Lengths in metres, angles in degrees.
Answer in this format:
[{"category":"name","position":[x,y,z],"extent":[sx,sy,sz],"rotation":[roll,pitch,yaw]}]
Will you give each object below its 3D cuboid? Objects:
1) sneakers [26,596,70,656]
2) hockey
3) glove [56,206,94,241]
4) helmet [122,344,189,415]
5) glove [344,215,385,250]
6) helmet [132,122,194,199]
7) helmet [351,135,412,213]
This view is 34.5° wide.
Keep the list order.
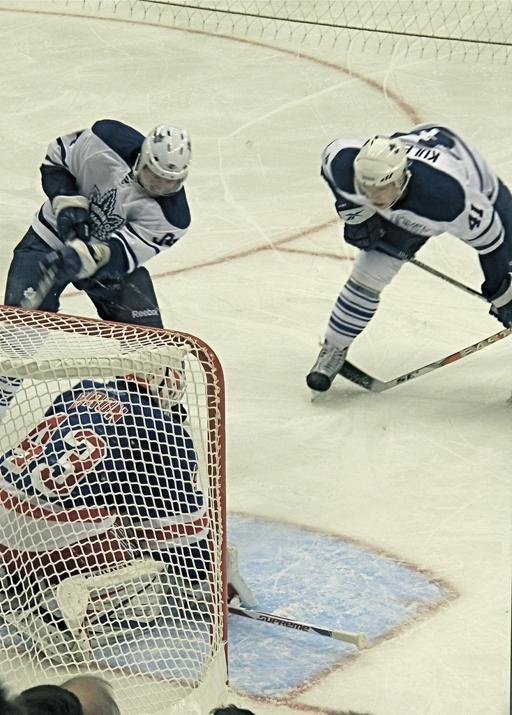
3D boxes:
[{"category":"sneakers","position":[-0.502,0.663,2.026],"extent":[0.085,0.145,0.158],"rotation":[-8,44,-22]},{"category":"hockey","position":[0.783,0.026,3.808],"extent":[0.742,0.109,0.069],"rotation":[-15,53,-11]},{"category":"glove","position":[-0.693,-0.512,3.169],"extent":[0.138,0.054,0.127],"rotation":[3,80,-11]},{"category":"helmet","position":[-0.262,0.054,2.151],"extent":[0.156,0.146,0.102],"rotation":[34,26,-22]},{"category":"glove","position":[0.443,-0.506,3.371],"extent":[0.129,0.145,0.120],"rotation":[-6,91,1]},{"category":"helmet","position":[-0.331,-0.728,3.122],"extent":[0.237,0.274,0.235],"rotation":[7,73,-22]},{"category":"helmet","position":[0.458,-0.686,3.087],"extent":[0.227,0.217,0.244],"rotation":[10,45,16]}]
